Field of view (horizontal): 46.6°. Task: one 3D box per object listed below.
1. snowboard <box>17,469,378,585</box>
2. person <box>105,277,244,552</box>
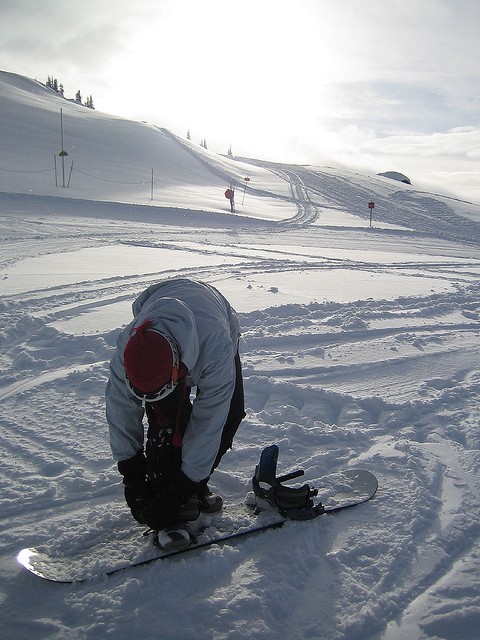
[{"bbox_3d":[-0.254,1.205,3.172,2.150,0.119,0.352,-7,18,-26],"label":"snowboard"},{"bbox_3d":[-0.348,0.528,3.044,0.734,1.471,1.019,1,7,0],"label":"person"}]
